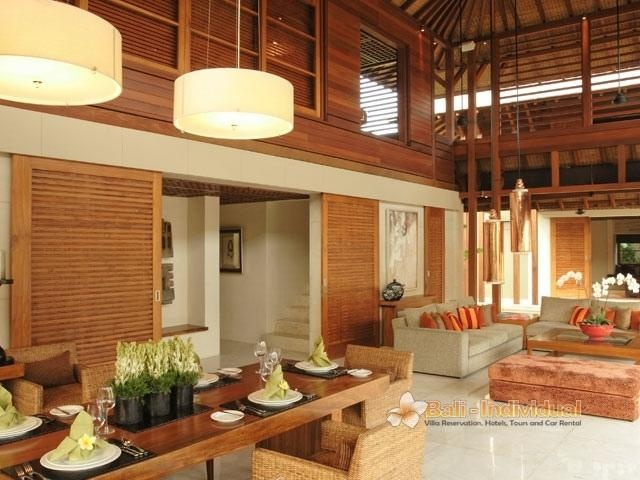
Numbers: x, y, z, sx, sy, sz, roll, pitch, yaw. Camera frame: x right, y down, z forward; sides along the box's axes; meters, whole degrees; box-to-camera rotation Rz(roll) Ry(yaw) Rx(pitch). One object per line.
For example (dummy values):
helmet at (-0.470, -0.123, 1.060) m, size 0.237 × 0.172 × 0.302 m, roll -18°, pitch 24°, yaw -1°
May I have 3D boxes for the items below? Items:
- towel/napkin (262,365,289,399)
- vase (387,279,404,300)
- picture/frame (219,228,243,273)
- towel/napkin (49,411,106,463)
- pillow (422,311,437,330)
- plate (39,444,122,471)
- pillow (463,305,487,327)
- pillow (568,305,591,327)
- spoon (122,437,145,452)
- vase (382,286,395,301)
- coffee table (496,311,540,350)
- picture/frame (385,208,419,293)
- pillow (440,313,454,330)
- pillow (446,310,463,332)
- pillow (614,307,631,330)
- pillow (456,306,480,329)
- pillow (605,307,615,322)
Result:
towel/napkin at (-0.267, 0.875, 3.048) m, size 0.148 × 0.085 × 0.184 m, roll 0°, pitch -1°, yaw -1°
vase at (1.339, 0.874, 8.659) m, size 0.326 × 0.356 × 0.311 m, roll -2°, pitch 0°, yaw -35°
picture/frame at (-1.677, 0.198, 9.261) m, size 0.519 × 0.827 × 0.134 m, roll 0°, pitch 3°, yaw 23°
towel/napkin at (-1.105, 0.909, 2.259) m, size 0.177 × 0.216 × 0.078 m, roll 12°, pitch -10°, yaw 3°
pillow at (1.535, 1.128, 6.902) m, size 0.105 × 0.155 × 0.203 m, roll -22°, pitch -16°, yaw 35°
plate at (-1.099, 0.991, 2.264) m, size 0.344 × 0.050 × 0.211 m, roll -2°, pitch 2°, yaw -20°
pillow at (2.485, 1.225, 7.899) m, size 0.374 × 0.328 × 0.106 m, roll -1°, pitch -17°, yaw -42°
pillow at (4.141, 1.208, 7.827) m, size 0.140 × 0.286 × 0.277 m, roll 28°, pitch 2°, yaw -31°
spoon at (-0.896, 0.981, 2.376) m, size 0.048 × 0.027 × 0.174 m, roll 0°, pitch 1°, yaw -43°
vase at (1.192, 0.918, 8.554) m, size 0.238 × 0.243 × 0.225 m, roll 4°, pitch -11°, yaw -22°
coffee table at (3.485, 1.644, 8.753) m, size 0.489 × 0.436 × 0.967 m, roll -2°, pitch -3°, yaw 32°
picture/frame at (1.580, 0.198, 9.335) m, size 0.240 × 1.584 × 1.241 m, roll 0°, pitch 3°, yaw 32°
pillow at (1.844, 1.167, 7.102) m, size 0.059 × 0.183 × 0.207 m, roll -21°, pitch -18°, yaw 31°
pillow at (1.979, 1.196, 7.248) m, size 0.086 × 0.271 × 0.289 m, roll -23°, pitch -15°, yaw 29°
pillow at (4.837, 1.261, 7.863) m, size 0.309 × 0.346 × 0.143 m, roll -1°, pitch -13°, yaw 43°
pillow at (2.342, 1.235, 7.789) m, size 0.293 × 0.387 × 0.139 m, roll -6°, pitch -19°, yaw -24°
pillow at (4.551, 1.171, 7.722) m, size 0.265 × 0.289 × 0.117 m, roll 8°, pitch -9°, yaw -42°
